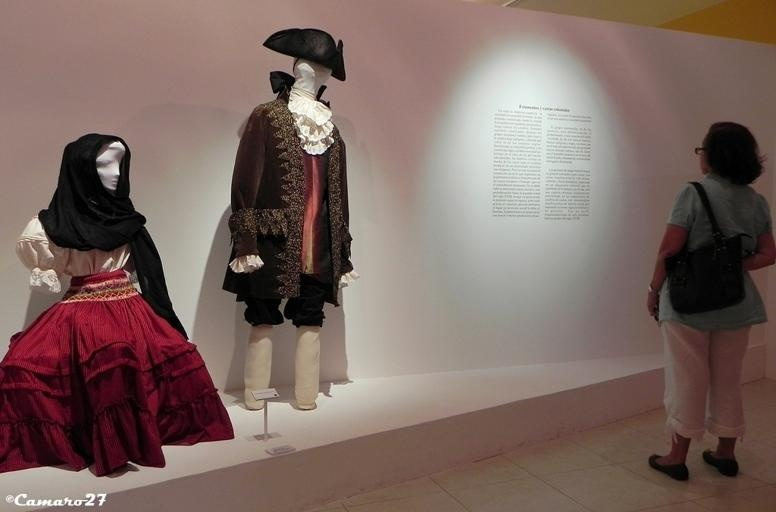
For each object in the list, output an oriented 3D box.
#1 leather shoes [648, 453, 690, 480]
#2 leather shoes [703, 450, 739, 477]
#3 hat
[{"bbox_3d":[1.947,1.453,3.751,0.104,0.100,0.243,-3,11,-25],"label":"leather shoes"},{"bbox_3d":[2.329,1.453,3.817,0.095,0.110,0.264,-1,8,-9],"label":"leather shoes"},{"bbox_3d":[-0.598,-1.437,3.864,0.447,0.201,0.348,23,14,-37],"label":"hat"}]
